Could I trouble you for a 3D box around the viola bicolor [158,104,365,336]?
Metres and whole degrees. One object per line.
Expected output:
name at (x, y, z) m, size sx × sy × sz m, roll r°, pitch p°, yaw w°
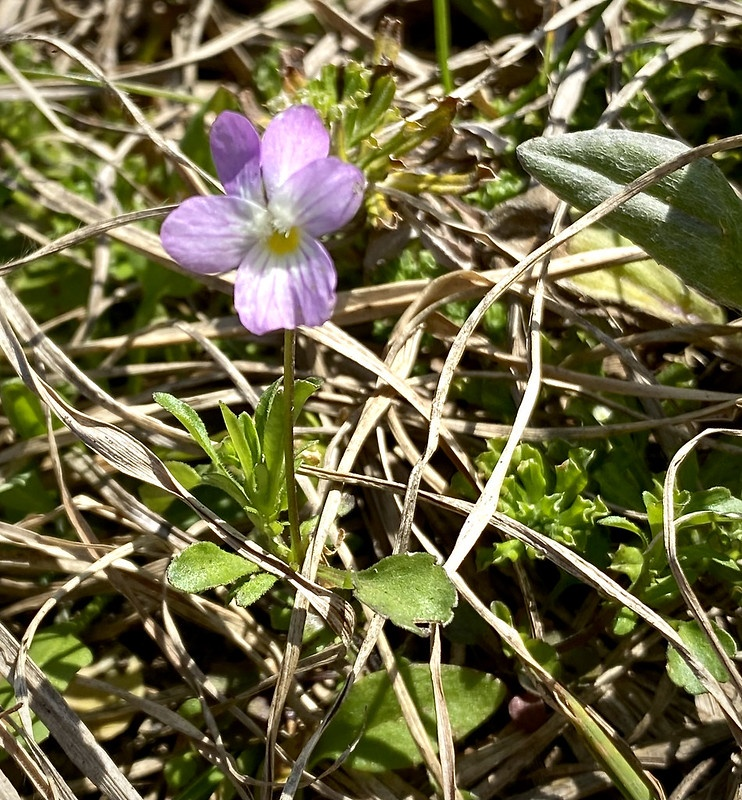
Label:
viola bicolor at (-0.125, -0.204, 1.030) m, size 0.325 × 0.110 × 0.274 m, roll -10°, pitch 88°, yaw -6°
